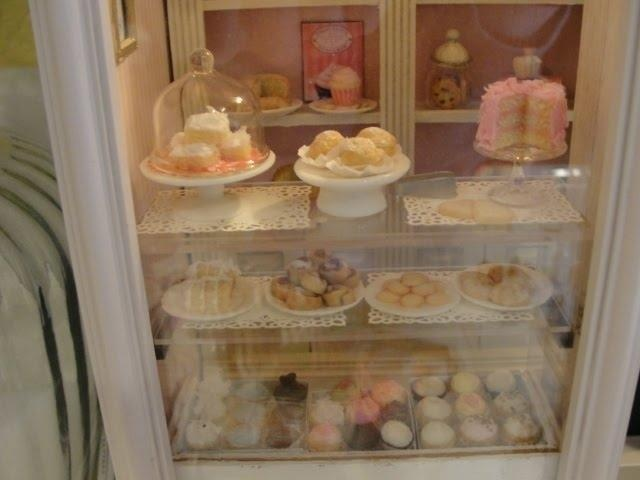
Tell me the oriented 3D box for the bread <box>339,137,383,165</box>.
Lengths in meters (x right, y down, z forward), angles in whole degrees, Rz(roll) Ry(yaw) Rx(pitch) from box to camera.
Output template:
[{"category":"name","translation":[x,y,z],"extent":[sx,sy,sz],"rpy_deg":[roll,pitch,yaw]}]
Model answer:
[{"category":"bread","translation":[0.097,-0.220,1.439],"extent":[0.078,0.026,0.080],"rpy_deg":[6,37,6]}]

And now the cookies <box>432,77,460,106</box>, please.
[{"category":"cookies","translation":[0.325,-0.382,1.501],"extent":[0.064,0.077,0.022],"rpy_deg":[-2,8,0]}]

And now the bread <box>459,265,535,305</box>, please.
[{"category":"bread","translation":[0.486,0.127,1.590],"extent":[0.144,0.048,0.132],"rpy_deg":[1,17,-6]}]

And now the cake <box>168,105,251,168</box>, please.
[{"category":"cake","translation":[-0.283,-0.267,1.429],"extent":[0.163,0.101,0.164],"rpy_deg":[2,15,11]}]

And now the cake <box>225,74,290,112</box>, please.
[{"category":"cake","translation":[-0.148,-0.400,1.519],"extent":[0.096,0.062,0.124],"rpy_deg":[-4,28,-8]}]

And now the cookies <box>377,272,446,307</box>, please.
[{"category":"cookies","translation":[0.260,0.142,1.600],"extent":[0.123,0.038,0.125],"rpy_deg":[7,19,22]}]

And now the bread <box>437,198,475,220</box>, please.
[{"category":"bread","translation":[0.356,-0.085,1.509],"extent":[0.085,0.051,0.025],"rpy_deg":[2,-23,5]}]

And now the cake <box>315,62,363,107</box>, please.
[{"category":"cake","translation":[0.050,-0.407,1.499],"extent":[0.100,0.087,0.101],"rpy_deg":[12,24,31]}]

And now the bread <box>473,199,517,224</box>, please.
[{"category":"bread","translation":[0.454,-0.070,1.506],"extent":[0.067,0.016,0.067],"rpy_deg":[0,55,2]}]

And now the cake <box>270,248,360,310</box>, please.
[{"category":"cake","translation":[-0.010,0.123,1.585],"extent":[0.187,0.067,0.191],"rpy_deg":[15,31,34]}]
